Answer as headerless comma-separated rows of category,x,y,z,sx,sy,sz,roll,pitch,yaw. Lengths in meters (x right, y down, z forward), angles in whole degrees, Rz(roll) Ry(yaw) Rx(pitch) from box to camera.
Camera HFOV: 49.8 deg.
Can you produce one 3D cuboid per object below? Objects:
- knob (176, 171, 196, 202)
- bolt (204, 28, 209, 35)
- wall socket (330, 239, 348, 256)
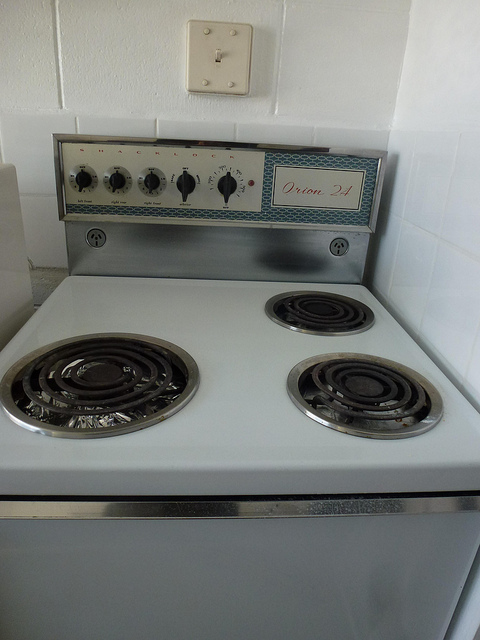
knob,-0.113,-0.272,1.056,0.043,0.055,0.015,2,-13,7
bolt,-0.066,-0.584,1.046,0.009,0.008,0.002,-5,7,-5
wall socket,0.225,-0.164,1.167,0.036,0.032,0.008,4,18,-1
